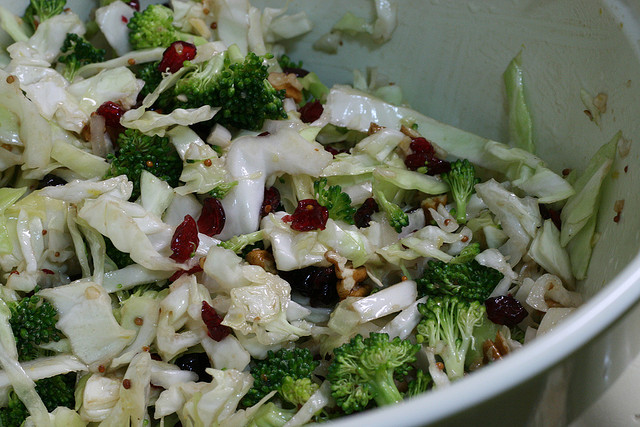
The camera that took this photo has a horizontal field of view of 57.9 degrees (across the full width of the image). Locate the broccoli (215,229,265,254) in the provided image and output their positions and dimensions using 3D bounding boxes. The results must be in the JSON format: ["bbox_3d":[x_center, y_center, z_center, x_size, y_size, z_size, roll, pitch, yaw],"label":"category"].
[{"bbox_3d":[-0.241,0.086,1.741,0.094,0.033,0.031,-22,45,-27],"label":"broccoli"}]

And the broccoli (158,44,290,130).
[{"bbox_3d":[-0.310,-0.335,1.906,0.326,0.254,0.215,-1,61,-16],"label":"broccoli"}]

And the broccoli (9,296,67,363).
[{"bbox_3d":[-0.828,0.299,1.662,0.116,0.088,0.121,4,4,39],"label":"broccoli"}]

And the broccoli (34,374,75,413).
[{"bbox_3d":[-0.748,0.506,1.629,0.093,0.055,0.111,-20,97,-13],"label":"broccoli"}]

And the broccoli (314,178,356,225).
[{"bbox_3d":[0.049,-0.042,1.784,0.148,0.121,0.084,4,78,6],"label":"broccoli"}]

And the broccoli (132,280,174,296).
[{"bbox_3d":[-0.500,0.223,1.711,0.115,0.027,0.033,-4,67,-18],"label":"broccoli"}]

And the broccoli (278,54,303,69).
[{"bbox_3d":[-0.117,-0.589,2.240,0.062,0.035,0.068,-7,65,-2],"label":"broccoli"}]

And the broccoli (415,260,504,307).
[{"bbox_3d":[0.411,0.198,1.682,0.172,0.082,0.141,23,80,7],"label":"broccoli"}]

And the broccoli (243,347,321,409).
[{"bbox_3d":[-0.101,0.487,1.609,0.192,0.108,0.187,5,24,31],"label":"broccoli"}]

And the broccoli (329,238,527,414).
[{"bbox_3d":[0.305,0.428,1.748,0.360,0.204,0.546,8,58,13],"label":"broccoli"}]

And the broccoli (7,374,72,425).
[{"bbox_3d":[-0.798,0.508,1.653,0.138,0.166,0.072,-39,50,-9],"label":"broccoli"}]

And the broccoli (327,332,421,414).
[{"bbox_3d":[0.155,0.461,1.617,0.204,0.209,0.188,-26,70,4],"label":"broccoli"}]

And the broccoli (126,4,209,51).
[{"bbox_3d":[-0.556,-0.644,2.097,0.231,0.131,0.170,9,19,-15],"label":"broccoli"}]

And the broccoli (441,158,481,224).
[{"bbox_3d":[0.450,-0.079,1.845,0.108,0.244,0.129,8,14,33],"label":"broccoli"}]

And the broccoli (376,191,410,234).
[{"bbox_3d":[0.224,0.000,1.827,0.065,0.066,0.166,-21,58,-8],"label":"broccoli"}]
